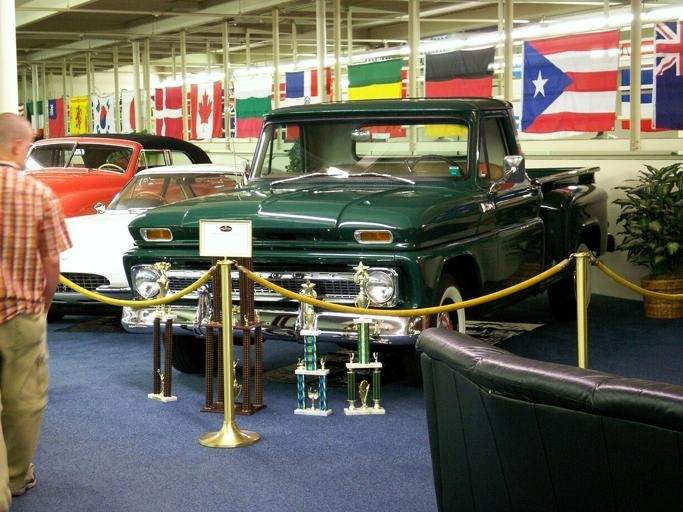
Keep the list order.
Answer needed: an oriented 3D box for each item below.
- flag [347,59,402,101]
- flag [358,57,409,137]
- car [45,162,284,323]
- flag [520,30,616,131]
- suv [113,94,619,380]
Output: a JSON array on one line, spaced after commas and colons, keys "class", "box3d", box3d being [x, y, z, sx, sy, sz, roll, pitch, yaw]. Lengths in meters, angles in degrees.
[{"class": "flag", "box3d": [0.675, -3.663, 11.979, 1.361, 0.801, 0.055, -16, 34, -27]}, {"class": "flag", "box3d": [0.705, -3.400, 11.924, 1.230, 1.302, 0.056, 0, 1, 20]}, {"class": "car", "box3d": [-2.195, -0.404, 7.705, 1.779, 1.084, 3.118, -1, 0, 34]}, {"class": "flag", "box3d": [3.797, -2.884, 9.625, 0.091, 1.559, 1.908, -20, 24, -25]}, {"class": "suv", "box3d": [0.759, -0.749, 6.529, 3.196, 1.857, 5.319, 4, 19, 35]}]
